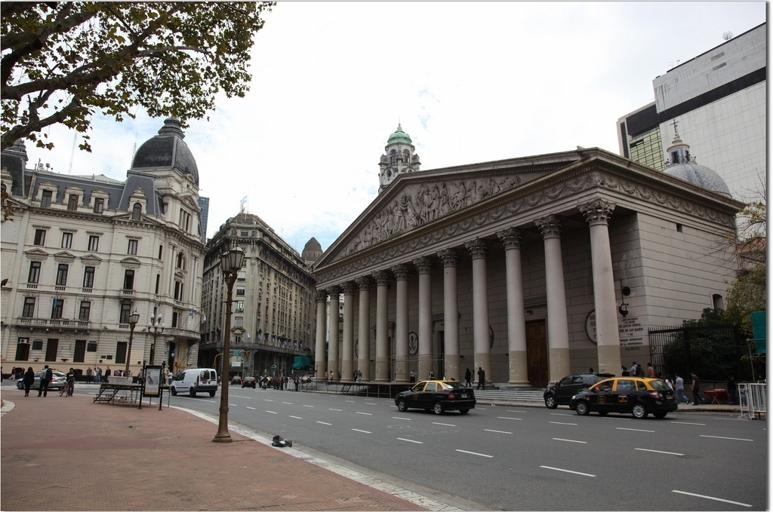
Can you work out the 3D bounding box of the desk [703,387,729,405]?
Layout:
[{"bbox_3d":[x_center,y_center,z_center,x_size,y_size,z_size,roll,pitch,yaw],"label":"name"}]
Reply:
[{"bbox_3d":[17.334,7.377,29.739,0.859,0.617,0.862,-10,-31,31],"label":"desk"}]

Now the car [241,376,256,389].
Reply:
[{"bbox_3d":[-16.927,15.509,69.152,1.370,1.033,2.894,3,-8,-14],"label":"car"}]

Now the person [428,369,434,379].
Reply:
[{"bbox_3d":[3.433,9.318,44.298,0.569,0.974,1.044,-2,-8,13],"label":"person"}]

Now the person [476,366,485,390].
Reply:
[{"bbox_3d":[6.507,8.387,38.670,0.472,1.583,1.253,1,-16,6],"label":"person"}]

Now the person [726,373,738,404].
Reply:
[{"bbox_3d":[17.987,6.928,29.455,0.459,1.500,0.860,-6,-18,29],"label":"person"}]

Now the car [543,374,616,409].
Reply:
[{"bbox_3d":[10.162,7.261,30.062,1.847,1.545,3.305,7,-16,-23],"label":"car"}]

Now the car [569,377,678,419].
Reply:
[{"bbox_3d":[11.074,6.545,26.106,2.026,1.382,3.681,14,-18,-35],"label":"car"}]

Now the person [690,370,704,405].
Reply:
[{"bbox_3d":[16.397,7.038,29.932,0.458,1.727,1.421,-5,-17,27],"label":"person"}]

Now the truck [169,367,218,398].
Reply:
[{"bbox_3d":[-14.658,9.678,43.433,3.894,1.730,2.293,-9,-18,42],"label":"truck"}]

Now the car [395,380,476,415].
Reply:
[{"bbox_3d":[2.585,7.334,29.592,1.786,1.209,3.709,13,-17,-38],"label":"car"}]

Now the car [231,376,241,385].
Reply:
[{"bbox_3d":[-21.353,17.731,80.021,1.123,0.829,1.843,3,-8,-11],"label":"car"}]

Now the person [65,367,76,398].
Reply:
[{"bbox_3d":[-20.811,8.399,37.029,0.477,1.626,1.252,11,-18,-28],"label":"person"}]
